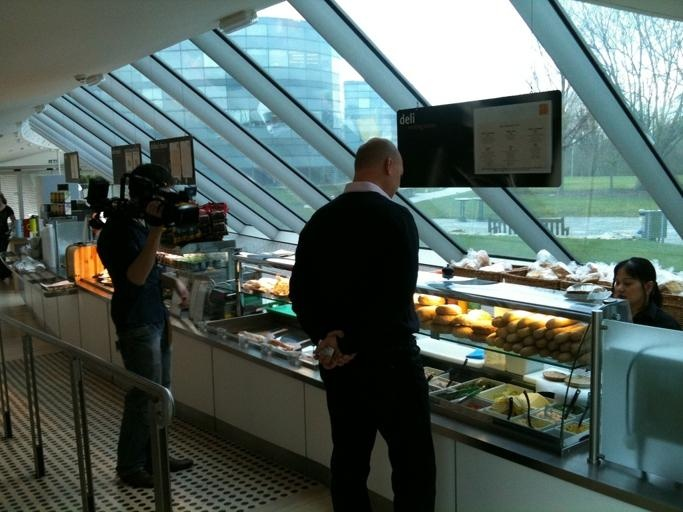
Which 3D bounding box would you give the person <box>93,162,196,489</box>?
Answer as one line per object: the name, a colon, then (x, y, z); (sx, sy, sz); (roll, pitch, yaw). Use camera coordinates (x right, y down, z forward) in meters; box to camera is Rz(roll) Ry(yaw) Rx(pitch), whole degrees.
person: (-1.147, 0.482, 3.537); (0.582, 2.112, 0.699); (-3, 6, -39)
